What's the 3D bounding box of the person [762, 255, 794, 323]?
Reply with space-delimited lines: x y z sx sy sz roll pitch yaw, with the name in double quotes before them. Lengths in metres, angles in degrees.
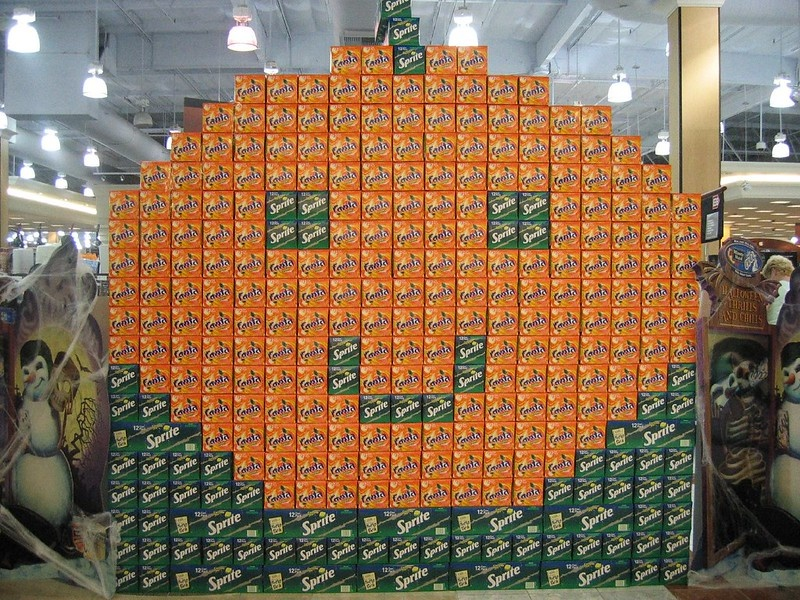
"person" 3.530 -0.106 8.824 0.255 0.598 0.775 -4 4 20
